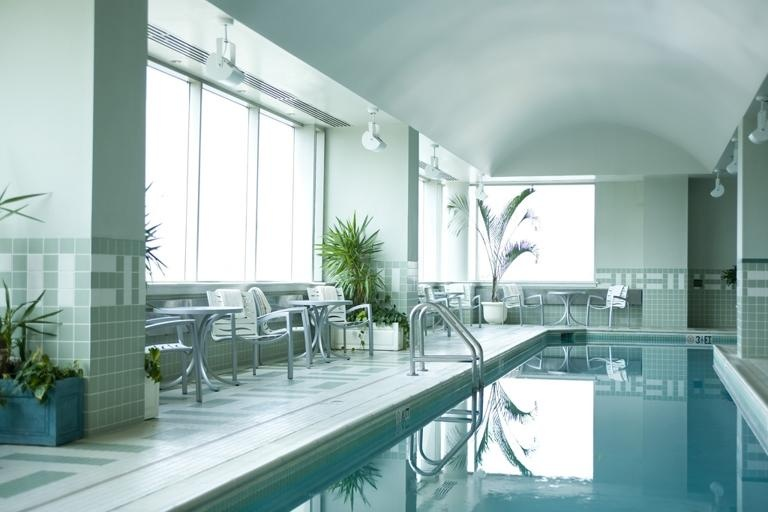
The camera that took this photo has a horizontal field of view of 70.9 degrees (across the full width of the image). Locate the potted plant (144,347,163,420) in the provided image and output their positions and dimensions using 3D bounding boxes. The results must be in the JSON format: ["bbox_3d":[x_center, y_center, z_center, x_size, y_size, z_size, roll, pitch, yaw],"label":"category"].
[{"bbox_3d":[-2.217,1.201,5.165,0.155,0.476,0.366,-3,-1,-24],"label":"potted plant"}]

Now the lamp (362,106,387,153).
[{"bbox_3d":[-0.172,-2.040,8.926,0.324,0.625,1.009,-3,-1,1],"label":"lamp"}]

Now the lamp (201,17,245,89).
[{"bbox_3d":[-1.788,-2.317,6.114,0.374,0.682,0.355,4,8,-3],"label":"lamp"}]

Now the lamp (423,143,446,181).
[{"bbox_3d":[1.042,-1.941,11.092,0.484,0.662,0.427,5,14,25],"label":"lamp"}]

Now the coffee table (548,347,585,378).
[{"bbox_3d":[3.246,1.958,9.614,0.515,0.122,0.502,-23,13,-38],"label":"coffee table"}]

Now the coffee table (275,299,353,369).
[{"bbox_3d":[-1.065,1.083,8.089,1.038,0.911,0.987,1,0,34],"label":"coffee table"}]

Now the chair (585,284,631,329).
[{"bbox_3d":[5.734,1.290,13.879,1.156,1.328,1.001,3,-5,-44],"label":"chair"}]

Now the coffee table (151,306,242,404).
[{"bbox_3d":[-1.890,0.908,6.003,1.054,1.027,1.094,2,2,35],"label":"coffee table"}]

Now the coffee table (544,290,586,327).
[{"bbox_3d":[4.573,1.331,13.806,0.951,0.822,0.962,0,-3,1],"label":"coffee table"}]

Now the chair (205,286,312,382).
[{"bbox_3d":[-1.691,0.767,6.949,1.096,1.443,1.458,-2,-5,26],"label":"chair"}]
